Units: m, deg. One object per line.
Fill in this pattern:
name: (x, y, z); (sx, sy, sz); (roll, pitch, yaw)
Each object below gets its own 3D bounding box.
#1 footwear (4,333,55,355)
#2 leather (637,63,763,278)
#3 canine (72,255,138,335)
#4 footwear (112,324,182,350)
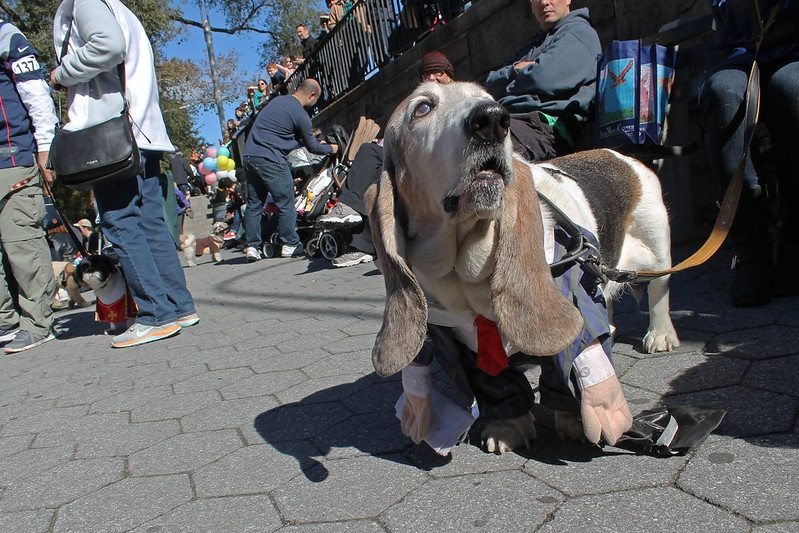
footwear: (-3.655, 0.771, 5.665); (0.165, 0.189, 0.491); (-6, -1, 26)
leather: (1.881, -0.540, 3.259); (0.273, 1.341, 0.783); (21, -8, -6)
canine: (-2.869, 0.307, 5.847); (0.425, 0.766, 1.050); (-15, -10, -4)
footwear: (-2.289, 0.636, 5.308); (0.626, 0.258, 0.222); (-6, -2, -16)
